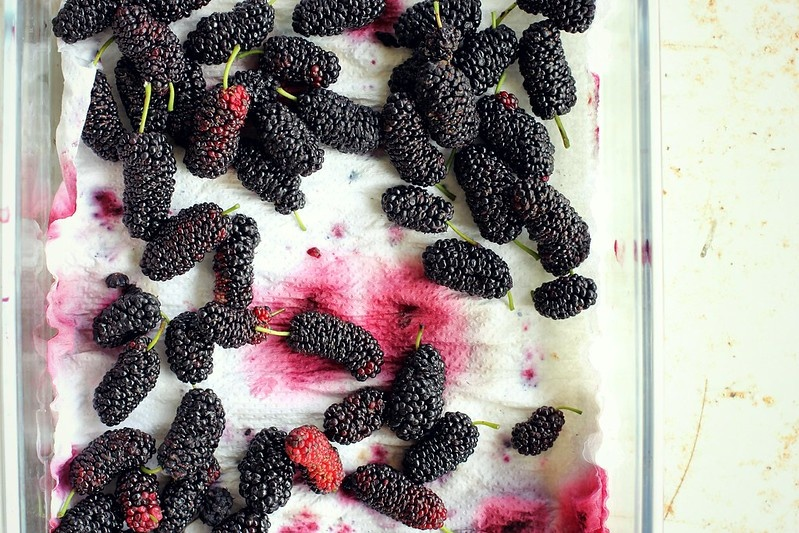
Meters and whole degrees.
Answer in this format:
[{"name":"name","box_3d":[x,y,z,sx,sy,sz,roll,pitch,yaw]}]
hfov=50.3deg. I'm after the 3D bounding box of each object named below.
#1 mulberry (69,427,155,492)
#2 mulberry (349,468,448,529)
[{"name":"mulberry","box_3d":[-0.639,0.424,1.980,0.192,0.109,0.085,-2,105,14]},{"name":"mulberry","box_3d":[-0.004,0.538,2.036,0.234,0.099,0.119,22,72,5]}]
